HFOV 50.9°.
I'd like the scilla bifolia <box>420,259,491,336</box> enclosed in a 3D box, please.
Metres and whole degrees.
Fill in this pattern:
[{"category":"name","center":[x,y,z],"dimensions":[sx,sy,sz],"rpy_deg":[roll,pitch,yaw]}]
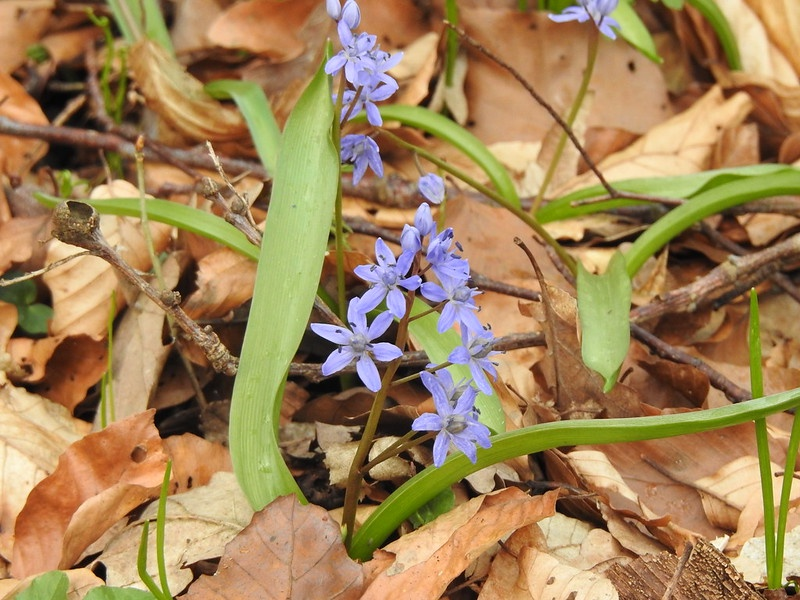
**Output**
[{"category":"scilla bifolia","center":[0.137,0.007,2.283],"dimensions":[0.171,0.253,0.168],"rpy_deg":[-3,53,-3]}]

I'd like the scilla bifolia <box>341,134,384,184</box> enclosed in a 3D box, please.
[{"category":"scilla bifolia","center":[-0.127,-0.466,2.648],"dimensions":[0.124,0.141,0.166],"rpy_deg":[-5,54,-5]}]

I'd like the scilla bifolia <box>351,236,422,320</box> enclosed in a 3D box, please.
[{"category":"scilla bifolia","center":[-0.026,-0.059,2.192],"dimensions":[0.157,0.109,0.244],"rpy_deg":[6,20,-19]}]

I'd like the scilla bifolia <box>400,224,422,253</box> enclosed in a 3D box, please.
[{"category":"scilla bifolia","center":[0.030,-0.170,2.186],"dimensions":[0.048,0.094,0.078],"rpy_deg":[3,53,1]}]

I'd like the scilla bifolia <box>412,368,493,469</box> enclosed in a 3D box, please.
[{"category":"scilla bifolia","center":[0.142,0.316,2.226],"dimensions":[0.227,0.124,0.268],"rpy_deg":[-13,98,-30]}]

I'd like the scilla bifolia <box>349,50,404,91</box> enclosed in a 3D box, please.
[{"category":"scilla bifolia","center":[-0.079,-0.644,2.407],"dimensions":[0.051,0.133,0.148],"rpy_deg":[-4,86,-35]}]
